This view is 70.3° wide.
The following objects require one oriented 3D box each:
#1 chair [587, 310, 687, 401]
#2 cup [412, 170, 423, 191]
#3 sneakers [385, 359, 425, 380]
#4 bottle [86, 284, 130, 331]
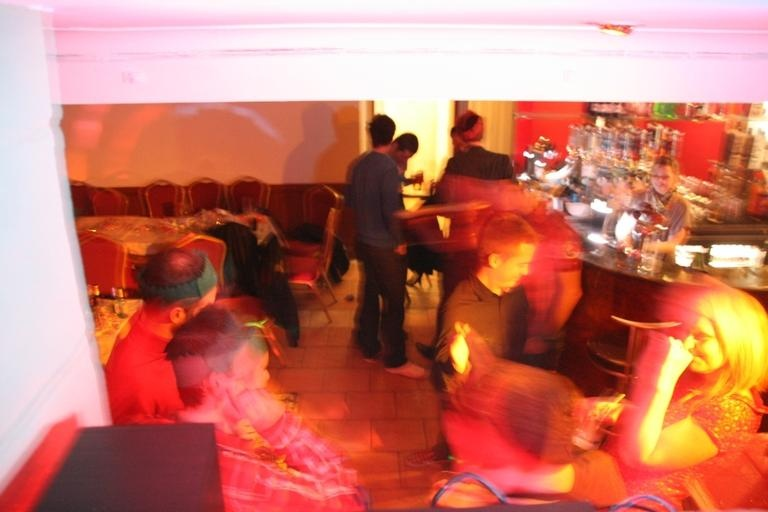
[{"bbox_3d":[1.188,0.509,2.700,0.431,0.445,0.454,1,10,6],"label":"chair"},{"bbox_3d":[0.315,-0.740,5.310,0.135,0.123,0.107,9,20,-2],"label":"cup"},{"bbox_3d":[0.169,0.792,3.810,0.225,0.084,0.111,-2,11,3],"label":"sneakers"},{"bbox_3d":[-1.221,0.232,2.431,0.220,0.057,0.209,6,51,-8],"label":"bottle"}]
